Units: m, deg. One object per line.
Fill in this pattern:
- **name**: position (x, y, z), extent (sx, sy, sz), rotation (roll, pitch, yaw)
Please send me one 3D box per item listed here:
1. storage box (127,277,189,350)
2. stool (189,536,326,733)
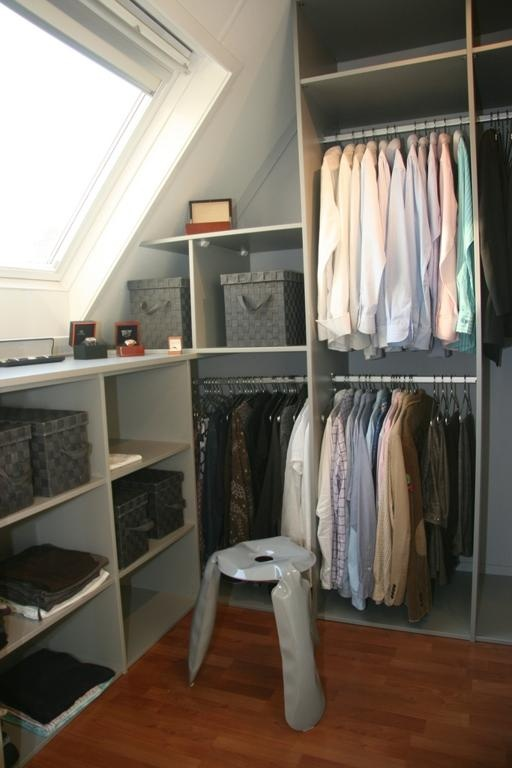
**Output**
- **storage box**: position (-0.399, -0.310, 2.667), extent (0.230, 0.397, 0.358), rotation (1, 6, 12)
- **stool**: position (0.041, 0.743, 1.937), extent (0.387, 0.457, 0.424), rotation (0, 0, 26)
